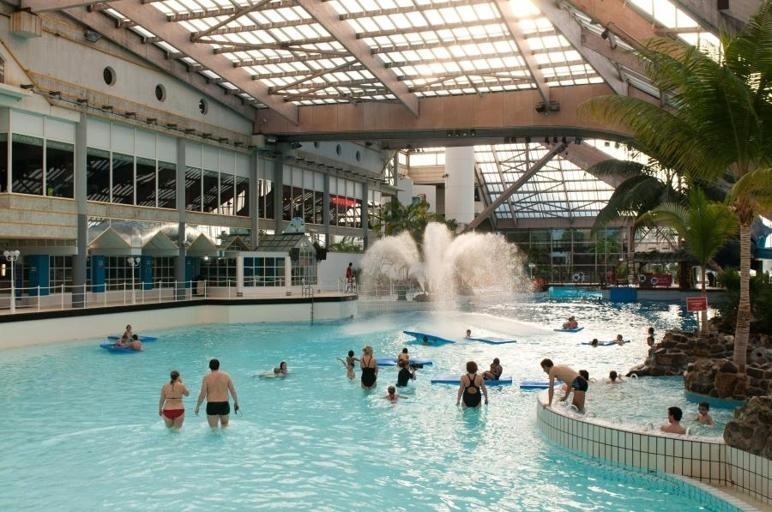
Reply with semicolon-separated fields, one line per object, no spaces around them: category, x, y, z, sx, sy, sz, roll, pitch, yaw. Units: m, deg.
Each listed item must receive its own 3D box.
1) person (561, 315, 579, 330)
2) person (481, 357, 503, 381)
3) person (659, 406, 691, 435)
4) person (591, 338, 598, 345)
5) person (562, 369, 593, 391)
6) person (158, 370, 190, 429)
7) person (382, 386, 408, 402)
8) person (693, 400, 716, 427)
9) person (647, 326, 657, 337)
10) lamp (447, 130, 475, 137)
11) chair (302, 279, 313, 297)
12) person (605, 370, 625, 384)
person;8.954;3.258;35.035;0.563;0.343;0.745;1;-1;-8
person;3.712;3.915;24.340;0.818;0.874;0.500;1;-11;19
person;7.217;4.118;17.902;0.625;0.576;1.027;-2;-3;21
person;8.801;3.630;30.108;0.308;0.312;0.790;-2;-3;17
person;5.337;3.493;20.026;0.714;0.722;0.428;5;11;5
person;-5.902;3.984;19.747;0.714;1.649;0.956;0;-3;-18
person;0.281;4.293;22.461;0.726;0.487;0.893;0;-3;-12
person;8.525;4.210;19.078;0.493;0.742;0.825;3;-3;-3
person;11.792;3.354;31.636;0.332;0.568;0.748;1;-32;26
lamp;4.386;-7.190;41.731;1.679;0.313;0.346;-1;-3;1
chair;-4.492;2.043;40.859;0.695;1.345;1.328;-2;3;-2
person;7.304;3.875;22.822;0.456;0.755;0.263;-1;19;-1
